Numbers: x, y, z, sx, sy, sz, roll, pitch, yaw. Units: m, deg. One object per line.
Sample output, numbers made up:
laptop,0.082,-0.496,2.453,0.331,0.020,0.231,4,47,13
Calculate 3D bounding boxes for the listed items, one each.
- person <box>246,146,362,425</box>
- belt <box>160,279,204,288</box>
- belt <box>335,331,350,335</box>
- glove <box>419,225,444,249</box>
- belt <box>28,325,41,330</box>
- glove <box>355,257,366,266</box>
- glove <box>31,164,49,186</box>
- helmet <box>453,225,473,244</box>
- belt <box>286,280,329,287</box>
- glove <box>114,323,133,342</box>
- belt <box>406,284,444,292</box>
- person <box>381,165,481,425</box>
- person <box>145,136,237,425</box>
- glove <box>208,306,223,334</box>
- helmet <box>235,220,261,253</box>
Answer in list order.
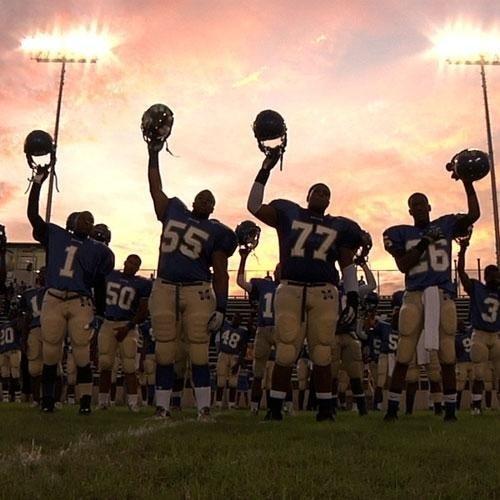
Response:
person,0.529,0.461,5.935,0.987,2.251,0.384,3,-8,-14
belt,-0.646,0.320,5.956,0.393,0.061,0.073,3,-8,-13
belt,1.196,1.076,8.167,0.211,0.042,0.054,-4,-11,-9
glove,1.797,-0.132,6.222,0.206,0.267,0.330,-3,-9,25
belt,-3.194,1.138,9.289,0.218,0.054,0.208,-1,-9,1
glove,1.176,0.119,6.711,0.117,0.123,0.028,-7,-2,16
glove,-2.244,-0.805,6.721,0.161,0.252,0.418,3,-8,-18
helmet,2.066,-0.166,6.114,0.195,0.247,0.086,-4,21,-29
belt,0.524,0.317,5.823,0.388,0.051,0.078,2,-8,-12
glove,-1.627,1.041,8.136,0.193,0.087,0.264,-48,-14,26
belt,1.727,0.377,6.208,0.401,0.074,0.174,-3,-9,22
person,1.797,0.476,6.244,0.924,2.371,0.615,-1,-8,12
person,-0.565,0.469,6.021,0.796,2.223,0.555,1,-8,-2
glove,-0.324,0.658,5.860,0.117,0.197,0.064,23,-9,-17
helmet,-0.012,-0.168,7.555,0.326,0.422,0.411,1,-8,-9
